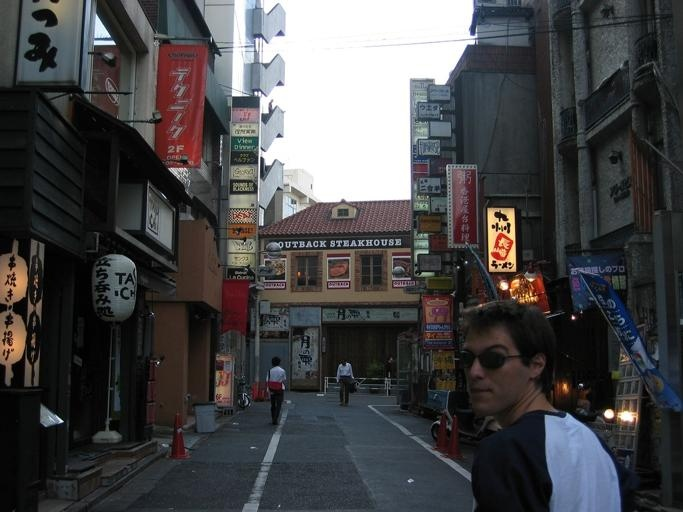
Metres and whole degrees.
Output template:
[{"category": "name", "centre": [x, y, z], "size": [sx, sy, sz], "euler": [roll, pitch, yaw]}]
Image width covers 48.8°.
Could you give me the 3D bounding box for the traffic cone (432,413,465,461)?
[{"category": "traffic cone", "centre": [2.431, 4.072, 16.999], "size": [0.709, 0.956, 0.872], "euler": [1, -14, -2]}]

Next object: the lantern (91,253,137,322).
[{"category": "lantern", "centre": [-4.188, 0.567, 13.994], "size": [0.494, 1.459, 0.640], "euler": [6, 1, 4]}]

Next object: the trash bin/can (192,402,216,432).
[{"category": "trash bin/can", "centre": [-3.670, 4.336, 20.121], "size": [0.771, 0.993, 0.682], "euler": [3, -13, -20]}]
